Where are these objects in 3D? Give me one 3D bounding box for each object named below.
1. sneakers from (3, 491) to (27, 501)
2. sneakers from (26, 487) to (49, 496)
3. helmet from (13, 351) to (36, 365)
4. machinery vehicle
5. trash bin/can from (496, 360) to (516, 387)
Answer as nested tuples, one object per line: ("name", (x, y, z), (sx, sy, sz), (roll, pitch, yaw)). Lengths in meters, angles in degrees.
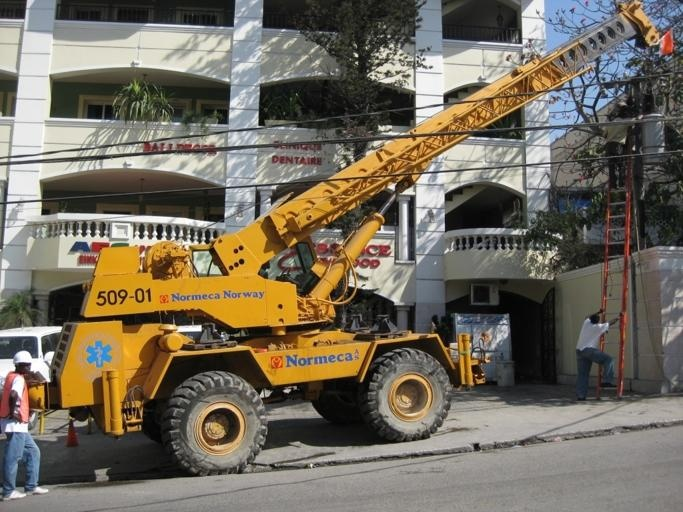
("sneakers", (-6.526, 4.818, 18.276), (0.445, 0.205, 0.185), (2, -7, -14))
("sneakers", (-6.172, 4.803, 18.585), (0.410, 0.183, 0.157), (3, -5, -21))
("helmet", (-6.635, 2.145, 19.109), (0.293, 0.333, 0.379), (6, 6, 32))
("machinery vehicle", (-0.767, -0.248, 21.419), (12.404, 10.243, 2.091), (2, -5, -22))
("trash bin/can", (5.381, 3.899, 30.099), (0.660, 0.991, 0.696), (-5, -10, 24))
